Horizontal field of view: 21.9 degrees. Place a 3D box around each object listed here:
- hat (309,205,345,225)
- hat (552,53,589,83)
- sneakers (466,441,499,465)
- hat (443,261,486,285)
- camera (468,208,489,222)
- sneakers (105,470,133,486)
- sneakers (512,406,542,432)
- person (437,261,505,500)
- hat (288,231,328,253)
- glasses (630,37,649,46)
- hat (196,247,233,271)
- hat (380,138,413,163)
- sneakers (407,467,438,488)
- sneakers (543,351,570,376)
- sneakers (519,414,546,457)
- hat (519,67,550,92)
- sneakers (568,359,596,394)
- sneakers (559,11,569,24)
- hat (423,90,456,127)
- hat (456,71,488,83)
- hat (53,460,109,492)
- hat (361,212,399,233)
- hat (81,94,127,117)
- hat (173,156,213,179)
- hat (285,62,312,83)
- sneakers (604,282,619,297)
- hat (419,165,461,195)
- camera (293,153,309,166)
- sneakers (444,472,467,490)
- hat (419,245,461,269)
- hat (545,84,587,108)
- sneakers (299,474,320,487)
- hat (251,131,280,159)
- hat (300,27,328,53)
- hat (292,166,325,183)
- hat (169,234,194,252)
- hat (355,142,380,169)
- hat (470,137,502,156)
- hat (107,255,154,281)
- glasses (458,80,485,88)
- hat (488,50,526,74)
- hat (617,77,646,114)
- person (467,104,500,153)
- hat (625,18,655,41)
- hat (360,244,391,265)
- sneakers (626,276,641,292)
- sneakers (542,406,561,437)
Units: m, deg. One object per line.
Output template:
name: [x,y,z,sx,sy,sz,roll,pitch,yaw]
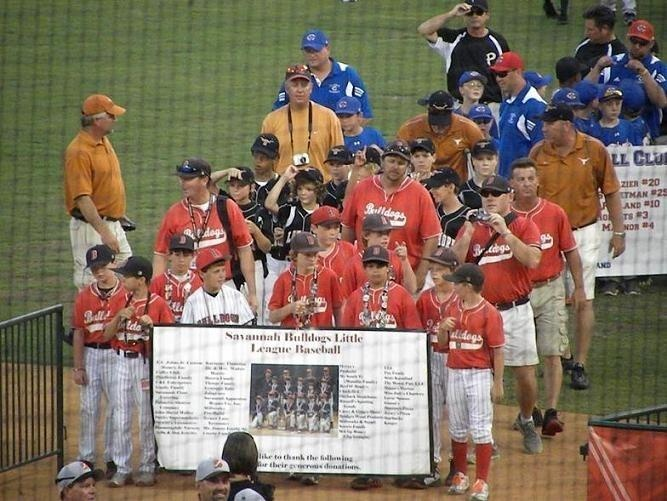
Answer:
hat: [-0.080,-0.393,19.169,0.331,0.212,0.256,-4,-5,0]
hat: [3.137,-2.377,22.313,0.346,0.273,0.490,18,48,41]
sneakers: [1.626,2.224,18.815,0.436,0.273,0.157,-3,2,1]
hat: [1.416,0.224,18.120,0.316,0.161,0.213,9,12,7]
camera: [1.592,-0.385,18.785,0.170,0.158,0.325,-1,-6,-29]
sneakers: [-2.264,2.436,18.278,0.271,0.161,0.154,-3,-5,-7]
sneakers: [2.221,1.872,19.296,0.165,0.414,0.193,-5,-4,0]
person: [1.493,1.381,18.179,0.690,2.485,0.472,-4,-6,3]
hat: [-0.291,-0.080,18.806,0.351,0.236,0.408,-4,-5,-1]
glasses: [4.037,-2.753,22.585,0.160,0.106,0.249,4,1,21]
hat: [-1.285,0.093,18.554,0.328,0.158,0.229,-10,3,29]
hat: [0.708,-1.117,19.217,0.315,0.253,0.246,-4,-5,2]
sneakers: [0.951,2.411,18.218,0.305,0.101,0.227,-4,-3,11]
sneakers: [2.652,1.332,20.075,0.221,0.222,0.272,-2,-19,3]
sneakers: [2.184,2.045,18.915,0.180,0.443,0.193,-21,-21,0]
hat: [2.592,-2.181,22.142,0.402,0.252,0.136,5,-43,6]
sneakers: [2.843,1.443,19.784,0.201,0.175,0.389,-4,36,5]
sneakers: [3.981,-4.025,29.633,0.105,0.216,0.214,2,-39,9]
hat: [1.299,-1.756,20.669,0.308,0.429,0.236,3,-36,3]
hat: [1.760,-2.229,22.086,0.194,0.124,0.269,-3,6,-32]
hat: [-2.551,2.302,17.377,0.422,0.201,0.312,-25,0,8]
hat: [0.493,-0.302,18.815,0.275,0.134,0.202,3,8,39]
hat: [-2.688,-1.685,20.031,0.441,0.194,0.269,0,23,-12]
hat: [-1.531,-0.914,19.126,0.304,0.145,0.222,16,7,-14]
hat: [-0.408,-2.169,20.799,0.306,0.240,0.279,-2,-5,-17]
sneakers: [3.603,0.492,22.151,0.175,0.091,0.181,0,33,8]
hat: [1.261,-0.811,19.508,0.358,0.182,0.242,-1,10,-8]
camera: [-0.366,-1.086,20.459,0.192,0.113,0.182,-5,5,2]
sneakers: [1.326,2.450,18.137,0.224,0.225,0.158,-4,-5,4]
hat: [1.192,0.067,18.429,0.282,0.138,0.208,13,-4,-38]
hat: [2.836,-1.869,20.891,0.453,0.243,0.331,-13,22,-41]
sneakers: [-0.236,2.417,18.313,0.162,0.057,0.148,4,20,6]
hat: [-0.800,-1.241,20.270,0.323,0.339,0.388,-4,-5,-3]
hat: [-0.218,-2.664,21.774,0.326,0.299,0.278,-4,-5,-2]
hat: [-0.275,-0.873,19.781,0.313,0.188,0.260,-3,-5,-4]
hat: [-1.637,-0.087,18.794,0.295,0.198,0.189,-2,-6,-19]
hat: [0.395,-1.116,20.117,0.338,0.164,0.209,8,10,-10]
hat: [1.765,-1.219,20.094,0.282,0.240,0.429,-3,-5,-10]
hat: [-2.153,0.187,18.523,0.372,0.190,0.236,13,12,-9]
glasses: [1.788,-2.144,22.009,0.139,0.058,0.196,1,-1,-28]
hat: [2.165,-2.333,21.255,0.349,0.183,0.233,2,15,0]
hat: [3.867,-2.023,22.338,0.312,0.387,0.154,10,-17,-24]
person: [1.872,-1.524,21.694,0.452,0.708,0.327,-8,-16,-10]
hat: [4.078,-2.913,22.715,0.318,0.347,0.382,-4,-5,7]
hat: [0.464,0.040,18.495,0.246,0.160,0.322,2,0,3]
sneakers: [3.898,0.441,22.117,0.192,0.193,0.188,1,-7,-26]
sneakers: [2.438,1.923,19.073,0.164,0.158,0.363,-4,-16,3]
